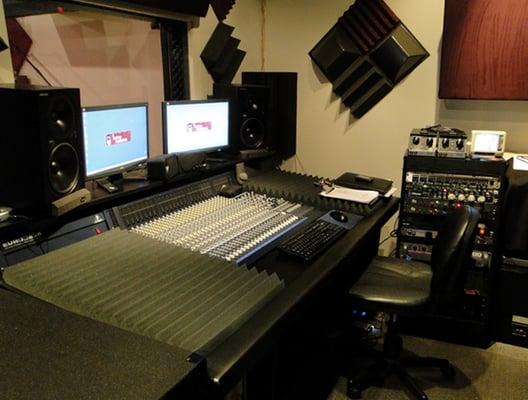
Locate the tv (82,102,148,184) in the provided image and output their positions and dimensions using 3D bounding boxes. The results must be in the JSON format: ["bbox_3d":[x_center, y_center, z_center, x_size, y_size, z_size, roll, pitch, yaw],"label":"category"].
[{"bbox_3d":[-0.877,-0.366,2.517,0.068,0.417,0.505,6,15,22],"label":"tv"}]

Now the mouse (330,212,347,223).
[{"bbox_3d":[0.468,0.105,2.603,0.057,0.024,0.077,3,19,4],"label":"mouse"}]

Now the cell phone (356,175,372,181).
[{"bbox_3d":[0.748,-0.160,3.096,0.065,0.017,0.051,15,28,24],"label":"cell phone"}]

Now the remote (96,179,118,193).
[{"bbox_3d":[-0.925,-0.109,2.447,0.066,0.023,0.205,-18,31,-34],"label":"remote"}]

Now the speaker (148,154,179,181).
[{"bbox_3d":[-0.632,-0.228,2.657,0.130,0.183,0.246,1,11,9],"label":"speaker"}]
